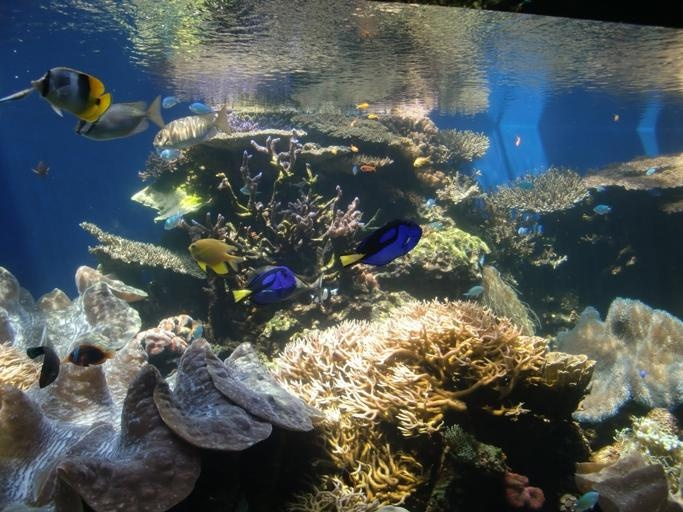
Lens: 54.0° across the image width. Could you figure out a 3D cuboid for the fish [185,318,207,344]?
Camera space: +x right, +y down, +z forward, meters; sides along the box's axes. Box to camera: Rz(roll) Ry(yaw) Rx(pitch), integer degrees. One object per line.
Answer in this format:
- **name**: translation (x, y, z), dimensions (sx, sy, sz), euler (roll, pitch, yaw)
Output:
- **fish**: translation (-3.155, 1.646, 14.479), dimensions (0.457, 0.136, 0.573), euler (21, 56, -15)
